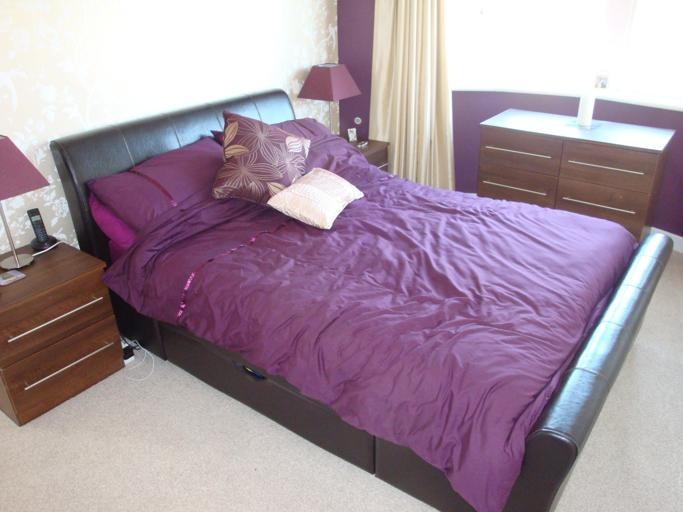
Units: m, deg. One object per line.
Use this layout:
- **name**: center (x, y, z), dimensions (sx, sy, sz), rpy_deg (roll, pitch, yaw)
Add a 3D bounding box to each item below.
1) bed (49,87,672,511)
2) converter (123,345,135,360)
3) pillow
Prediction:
- **bed**: center (0.241, -0.150, 3.286), dimensions (3.161, 1.341, 2.492), rpy_deg (19, 35, 32)
- **converter**: center (-1.345, 0.609, 3.195), dimensions (0.070, 0.019, 0.072), rpy_deg (1, 66, -41)
- **pillow**: center (-0.828, -0.517, 3.162), dimensions (1.149, 0.349, 0.975), rpy_deg (-17, 56, -19)
